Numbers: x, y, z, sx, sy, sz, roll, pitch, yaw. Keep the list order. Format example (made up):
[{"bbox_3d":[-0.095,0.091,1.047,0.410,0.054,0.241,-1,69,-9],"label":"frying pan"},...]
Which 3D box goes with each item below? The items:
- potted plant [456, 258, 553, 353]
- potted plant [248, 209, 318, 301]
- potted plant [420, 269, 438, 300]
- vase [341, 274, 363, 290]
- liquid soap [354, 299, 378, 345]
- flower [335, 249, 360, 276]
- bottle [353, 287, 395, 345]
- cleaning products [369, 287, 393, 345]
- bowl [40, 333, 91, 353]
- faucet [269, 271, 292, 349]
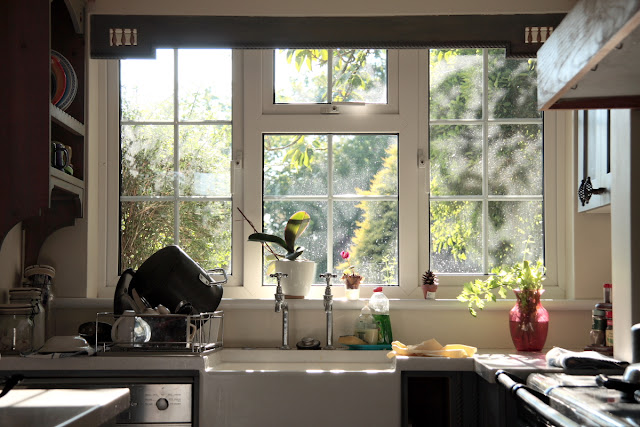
[{"bbox_3d":[1.028,0.490,3.009,0.442,0.469,0.384,-4,-6,-12],"label":"potted plant"},{"bbox_3d":[-0.176,0.247,3.301,0.278,0.483,0.497,-8,-13,37],"label":"potted plant"},{"bbox_3d":[0.625,0.411,3.297,0.090,0.157,0.094,-4,-20,29],"label":"potted plant"},{"bbox_3d":[0.180,0.380,3.248,0.087,0.073,0.088,2,-15,-3],"label":"vase"},{"bbox_3d":[0.247,0.597,3.148,0.090,0.210,0.139,2,-4,-26],"label":"liquid soap"},{"bbox_3d":[0.159,0.287,3.338,0.125,0.142,0.082,2,-5,5],"label":"flower"},{"bbox_3d":[0.316,0.559,3.131,0.229,0.430,0.259,-2,-8,8],"label":"bottle"},{"bbox_3d":[0.321,0.585,3.169,0.133,0.337,0.109,-22,-38,35],"label":"cleaning products"},{"bbox_3d":[-1.233,0.629,2.781,0.236,0.070,0.099,1,-4,-14],"label":"bowl"},{"bbox_3d":[-0.222,0.523,3.137,0.106,0.404,0.173,0,-4,-4],"label":"faucet"}]
